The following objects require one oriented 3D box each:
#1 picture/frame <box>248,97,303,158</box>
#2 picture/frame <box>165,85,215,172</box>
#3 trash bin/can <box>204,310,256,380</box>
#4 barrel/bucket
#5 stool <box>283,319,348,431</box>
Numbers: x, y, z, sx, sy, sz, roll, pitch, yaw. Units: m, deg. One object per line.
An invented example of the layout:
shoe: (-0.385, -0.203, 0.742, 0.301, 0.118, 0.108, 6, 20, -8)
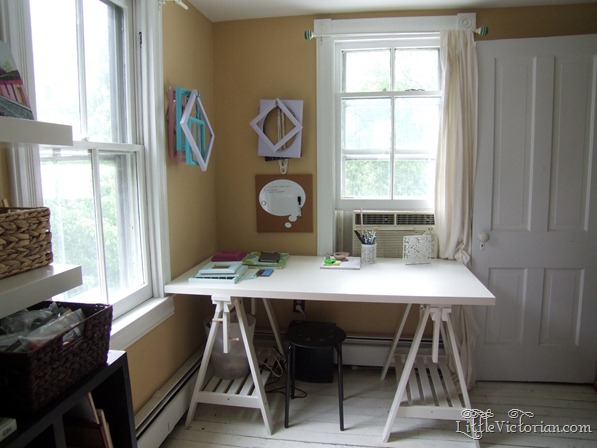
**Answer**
picture/frame: (-0.126, -0.676, 3.510, 0.393, 0.468, 0.409, -1, 3, 6)
picture/frame: (-0.724, -0.622, 3.042, 0.132, 0.705, 0.596, 1, 7, 16)
trash bin/can: (-0.439, 0.820, 3.255, 0.352, 0.416, 0.390, 0, 1, -3)
barrel/bucket: (-0.457, 0.831, 3.246, 0.311, 0.328, 0.359, 0, 0, -2)
stool: (0.102, 0.930, 3.002, 0.447, 0.719, 0.548, 0, -3, 5)
